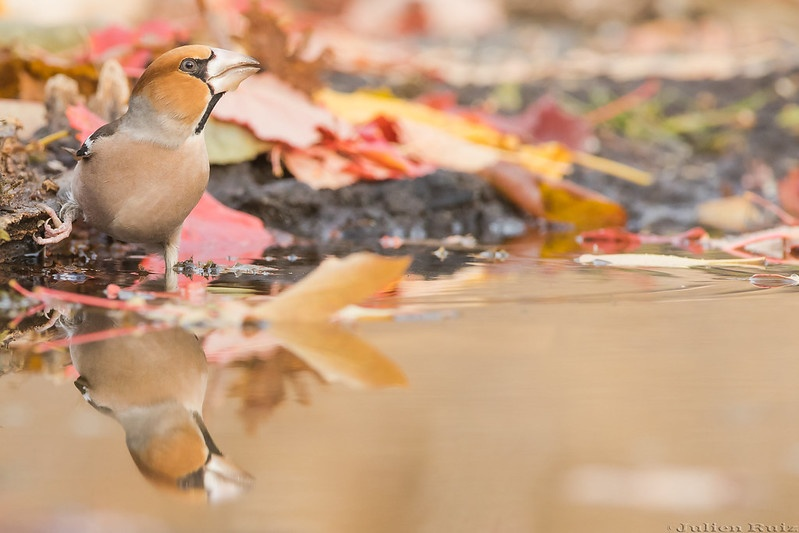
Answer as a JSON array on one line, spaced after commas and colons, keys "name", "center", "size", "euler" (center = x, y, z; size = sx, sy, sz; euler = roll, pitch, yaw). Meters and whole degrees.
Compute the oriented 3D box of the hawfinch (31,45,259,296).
[{"name": "hawfinch", "center": [-0.233, -0.091, 0.971], "size": [0.222, 0.286, 0.241], "euler": [1, 8, -6]}]
